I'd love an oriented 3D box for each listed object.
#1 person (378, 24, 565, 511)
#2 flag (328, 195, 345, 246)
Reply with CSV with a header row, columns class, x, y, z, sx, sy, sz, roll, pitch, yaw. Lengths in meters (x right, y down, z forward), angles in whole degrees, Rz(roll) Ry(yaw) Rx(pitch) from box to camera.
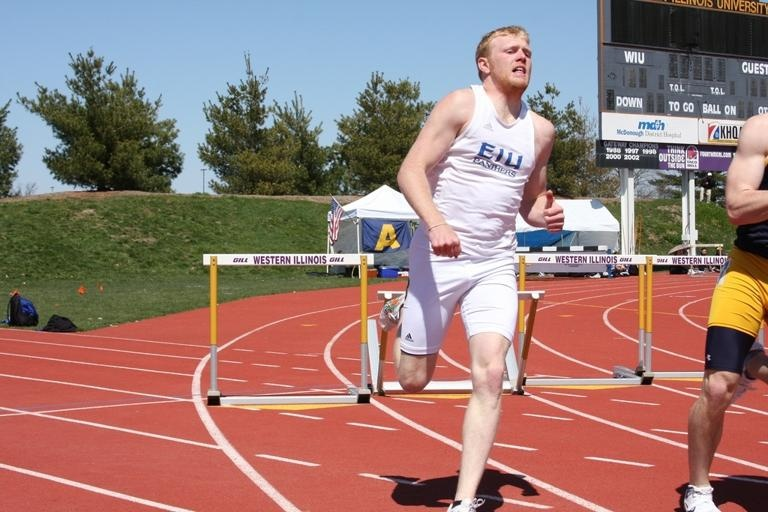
class,x,y,z,sx,sy,sz,roll,pitch,yaw
person,0.797,0.138,7.350,1.393,4.286,1.010,-1,4,-1
flag,-1.572,-1.119,28.080,0.532,1.615,1.780,-1,4,-3
